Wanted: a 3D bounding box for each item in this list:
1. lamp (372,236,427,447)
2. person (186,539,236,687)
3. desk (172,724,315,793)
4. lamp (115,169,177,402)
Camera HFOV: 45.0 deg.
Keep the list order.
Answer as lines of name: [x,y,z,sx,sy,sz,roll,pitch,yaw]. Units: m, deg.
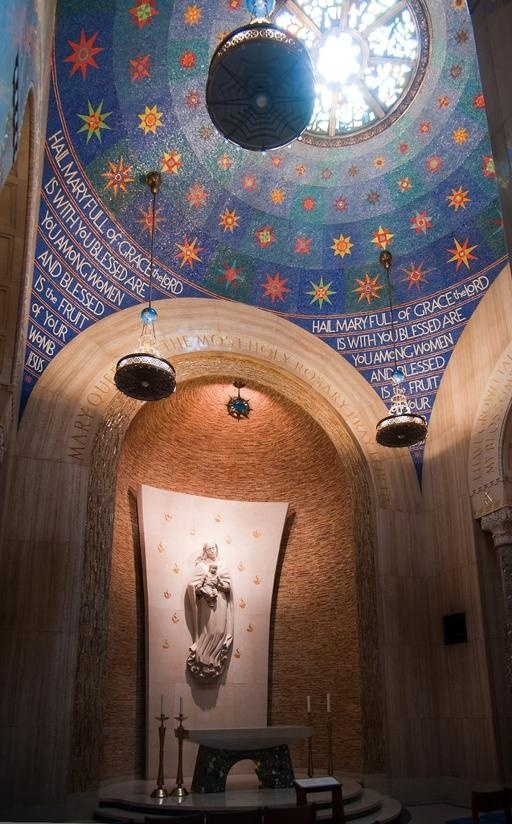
lamp: [1.827,-0.867,8.257,0.587,2.948,1.522,-5,-26,12]
person: [-0.628,2.639,8.182,0.648,1.754,0.330,8,-26,-15]
desk: [-0.149,3.516,6.248,1.380,0.584,0.648,13,-28,-23]
lamp: [-1.368,-1.592,7.484,0.802,3.109,0.822,3,-49,-6]
